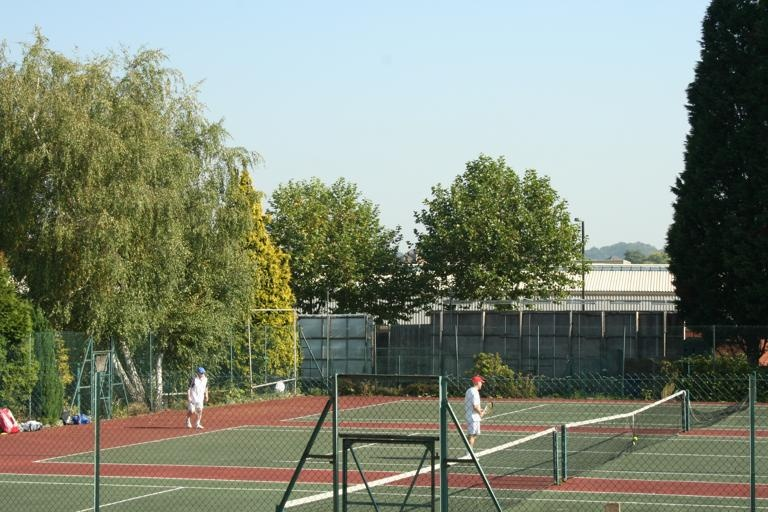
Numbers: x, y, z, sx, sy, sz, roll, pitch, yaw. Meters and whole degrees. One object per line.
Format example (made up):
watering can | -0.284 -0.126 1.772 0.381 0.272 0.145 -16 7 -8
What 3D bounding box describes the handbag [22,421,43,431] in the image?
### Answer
handbag | -15.319 7.469 53.189 0.829 0.382 0.479 1 6 -12
